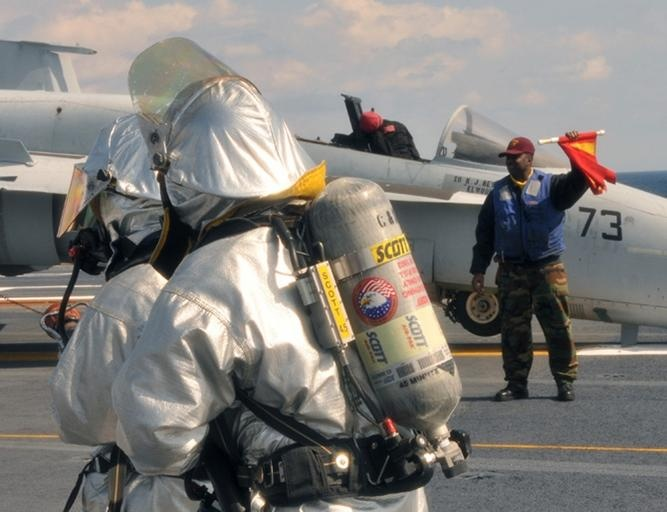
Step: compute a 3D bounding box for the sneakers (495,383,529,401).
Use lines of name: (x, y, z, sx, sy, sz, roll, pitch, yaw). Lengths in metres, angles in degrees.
sneakers: (1.694, 1.263, 14.307, 0.384, 0.120, 0.123, 0, 1, -16)

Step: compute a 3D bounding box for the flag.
flag: (2.193, -0.789, 13.017, 0.439, 0.558, 0.553, -1, 12, 12)

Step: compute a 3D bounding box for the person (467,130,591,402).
person: (1.891, 0.133, 14.099, 0.854, 2.412, 0.458, -3, 14, 6)
